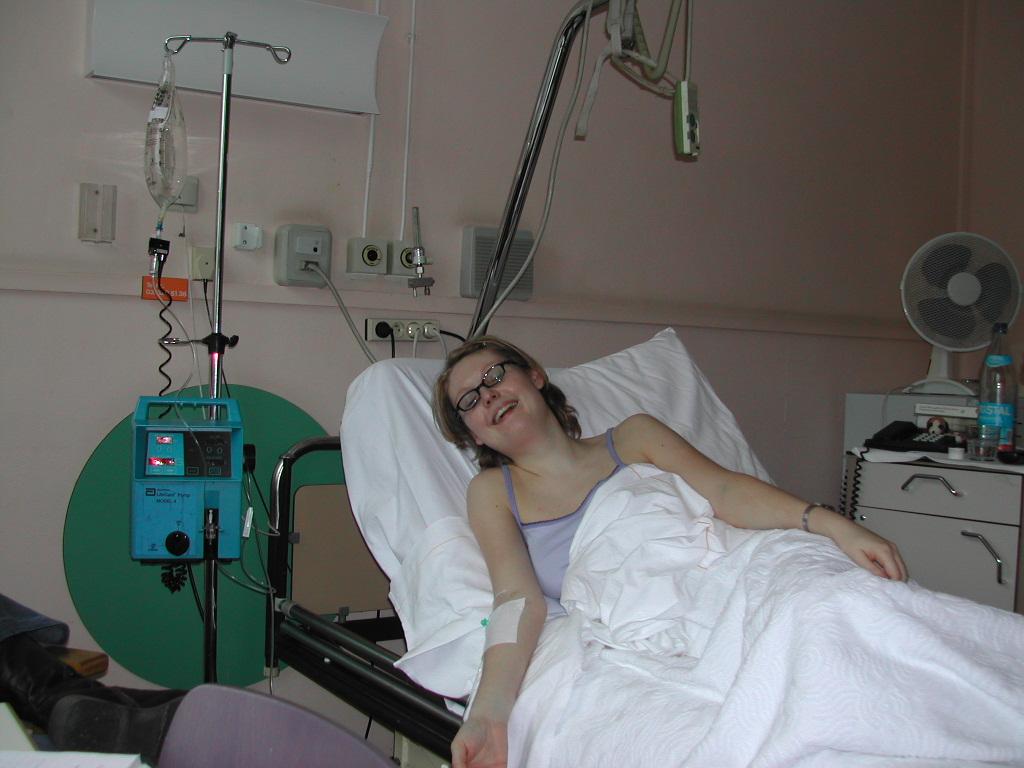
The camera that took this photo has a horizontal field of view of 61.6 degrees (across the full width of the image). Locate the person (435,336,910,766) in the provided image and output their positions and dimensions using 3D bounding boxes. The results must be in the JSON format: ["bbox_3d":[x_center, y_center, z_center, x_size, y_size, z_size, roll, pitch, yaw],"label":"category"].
[{"bbox_3d":[0.204,0.403,2.148,0.800,0.407,1.008,-33,26,-12],"label":"person"}]

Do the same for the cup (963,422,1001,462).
[{"bbox_3d":[1.693,0.214,3.072,0.080,0.122,0.116,-1,-7,26],"label":"cup"}]
